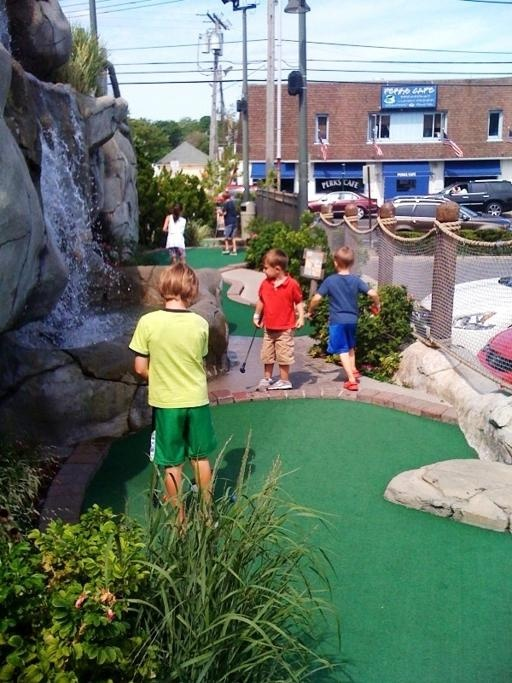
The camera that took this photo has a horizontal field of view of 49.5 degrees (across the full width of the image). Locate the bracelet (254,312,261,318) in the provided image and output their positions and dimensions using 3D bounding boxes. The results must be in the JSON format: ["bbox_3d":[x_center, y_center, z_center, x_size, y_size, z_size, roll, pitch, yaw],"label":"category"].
[{"bbox_3d":[0.015,-0.310,6.529,0.065,0.055,0.073,-1,-1,0],"label":"bracelet"}]

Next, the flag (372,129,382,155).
[{"bbox_3d":[8.681,-14.135,39.846,0.623,1.813,0.996,-4,12,-11],"label":"flag"}]

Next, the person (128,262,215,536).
[{"bbox_3d":[-0.504,0.346,3.368,0.476,1.586,1.215,-3,12,-6],"label":"person"}]

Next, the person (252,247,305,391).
[{"bbox_3d":[0.263,-0.233,6.476,0.482,1.658,0.654,-9,14,-32],"label":"person"}]

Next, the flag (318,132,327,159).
[{"bbox_3d":[4.784,-13.803,39.505,0.567,1.777,1.217,0,12,7],"label":"flag"}]

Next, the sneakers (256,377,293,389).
[{"bbox_3d":[0.226,0.523,6.696,0.433,0.213,0.157,-1,-14,7],"label":"sneakers"}]

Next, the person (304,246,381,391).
[{"bbox_3d":[1.092,-0.332,6.917,0.888,1.675,1.133,5,14,30],"label":"person"}]

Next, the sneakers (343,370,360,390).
[{"bbox_3d":[1.154,0.467,6.642,0.125,0.141,0.308,-1,13,0],"label":"sneakers"}]
